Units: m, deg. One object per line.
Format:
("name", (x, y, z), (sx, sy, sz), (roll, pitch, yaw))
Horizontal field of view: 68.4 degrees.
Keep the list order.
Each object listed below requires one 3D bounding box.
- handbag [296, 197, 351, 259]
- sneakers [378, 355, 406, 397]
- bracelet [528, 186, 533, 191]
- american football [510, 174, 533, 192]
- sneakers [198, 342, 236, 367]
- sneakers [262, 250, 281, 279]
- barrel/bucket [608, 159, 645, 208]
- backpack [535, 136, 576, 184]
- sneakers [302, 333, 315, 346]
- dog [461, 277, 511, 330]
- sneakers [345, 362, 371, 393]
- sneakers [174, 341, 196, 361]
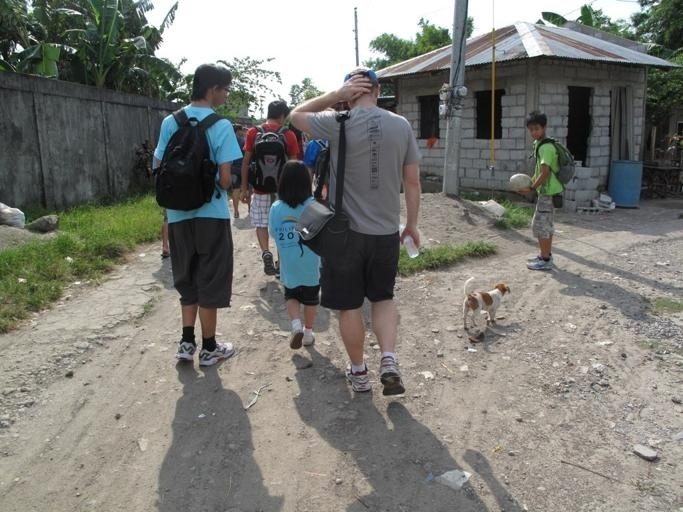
("handbag", (-0.130, -0.190, 3.911), (0.376, 0.367, 0.381), (27, -7, 26))
("sneakers", (0.382, 0.938, 3.921), (0.144, 0.348, 0.158), (-4, 43, 8))
("bracelet", (2.702, -0.958, 7.176), (0.056, 0.024, 0.077), (-34, 0, 16))
("american football", (2.701, -1.072, 7.427), (0.293, 0.270, 0.235), (-1, 12, -15))
("sneakers", (-1.138, 0.910, 4.735), (0.133, 0.171, 0.348), (11, 19, 34))
("sneakers", (-0.933, 0.089, 6.811), (0.201, 0.530, 0.235), (-4, 37, 6))
("barrel/bucket", (7.327, -1.845, 13.038), (0.687, 1.174, 0.506), (5, 14, 25))
("backpack", (3.117, -1.432, 7.299), (0.620, 0.699, 0.480), (-10, 22, 7))
("sneakers", (-0.313, 0.828, 4.989), (0.074, 0.090, 0.198), (0, 11, 2))
("dog", (1.524, 0.463, 5.489), (0.369, 0.583, 0.605), (10, 17, 42))
("sneakers", (0.165, 1.036, 4.302), (0.130, 0.145, 0.301), (-1, 15, -9))
("sneakers", (-1.438, 0.890, 4.709), (0.104, 0.133, 0.260), (7, -1, -15))
